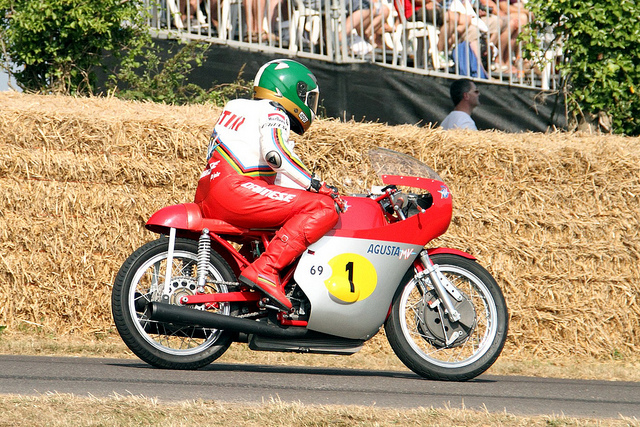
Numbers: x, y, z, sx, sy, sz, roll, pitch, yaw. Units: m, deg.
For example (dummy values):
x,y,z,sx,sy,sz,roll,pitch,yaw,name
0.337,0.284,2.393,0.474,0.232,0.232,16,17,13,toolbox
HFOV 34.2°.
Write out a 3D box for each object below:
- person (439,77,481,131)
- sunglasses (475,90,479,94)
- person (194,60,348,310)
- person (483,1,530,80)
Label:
x,y,z,sx,sy,sz,roll,pitch,yaw,name
2.032,-1.610,15.360,0.557,0.889,1.015,-4,8,-22,person
2.231,-1.731,14.849,0.069,0.054,0.012,-9,11,-43,sunglasses
-0.562,-0.328,11.283,1.466,2.617,0.968,-3,8,-9,person
3.074,-2.870,17.331,0.738,0.463,1.304,-4,18,5,person
